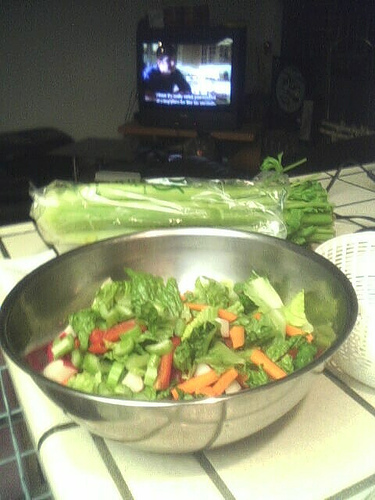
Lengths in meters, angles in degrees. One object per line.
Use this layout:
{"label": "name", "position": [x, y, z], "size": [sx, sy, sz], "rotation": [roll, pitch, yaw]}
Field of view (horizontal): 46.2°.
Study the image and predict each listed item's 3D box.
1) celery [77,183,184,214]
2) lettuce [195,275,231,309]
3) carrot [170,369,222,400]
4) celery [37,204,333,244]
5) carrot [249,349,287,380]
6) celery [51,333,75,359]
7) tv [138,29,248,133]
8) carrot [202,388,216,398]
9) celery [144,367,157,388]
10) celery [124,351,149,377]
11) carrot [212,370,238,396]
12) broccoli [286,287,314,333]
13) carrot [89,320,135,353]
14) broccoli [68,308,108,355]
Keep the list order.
{"label": "celery", "position": [-0.097, -0.086, 0.737], "size": [0.080, 0.012, 0.028], "rotation": [15, 38, 11]}
{"label": "lettuce", "position": [0.029, 0.043, 0.493], "size": [0.030, 0.030, 0.045], "rotation": [-1, 16, 1]}
{"label": "carrot", "position": [0.004, 0.110, 0.358], "size": [0.040, 0.015, 0.016], "rotation": [-25, 25, -10]}
{"label": "celery", "position": [-0.008, -0.040, 0.726], "size": [0.494, 0.068, 0.051], "rotation": [2, 19, 3]}
{"label": "carrot", "position": [0.071, 0.097, 0.382], "size": [0.013, 0.016, 0.049], "rotation": [7, 9, -14]}
{"label": "celery", "position": [-0.118, 0.091, 0.417], "size": [0.024, 0.015, 0.007], "rotation": [-46, -5, -1]}
{"label": "tv", "position": [0.017, -0.334, 1.124], "size": [0.263, 0.317, 0.191], "rotation": [-1, 37, 1]}
{"label": "carrot", "position": [0.018, 0.117, 0.360], "size": [0.011, 0.004, 0.006], "rotation": [19, 28, 36]}
{"label": "celery", "position": [-0.031, 0.106, 0.368], "size": [0.009, 0.019, 0.023], "rotation": [6, 61, -6]}
{"label": "celery", "position": [-0.043, 0.099, 0.379], "size": [0.014, 0.005, 0.019], "rotation": [14, 64, 11]}
{"label": "carrot", "position": [0.033, 0.106, 0.379], "size": [0.009, 0.011, 0.032], "rotation": [28, 58, 27]}
{"label": "broccoli", "position": [0.114, 0.060, 0.448], "size": [0.017, 0.046, 0.023], "rotation": [-13, 28, -40]}
{"label": "carrot", "position": [-0.074, 0.082, 0.421], "size": [0.039, 0.014, 0.023], "rotation": [-36, 55, -17]}
{"label": "broccoli", "position": [-0.102, 0.076, 0.438], "size": [0.040, 0.050, 0.016], "rotation": [-1, -5, 42]}
